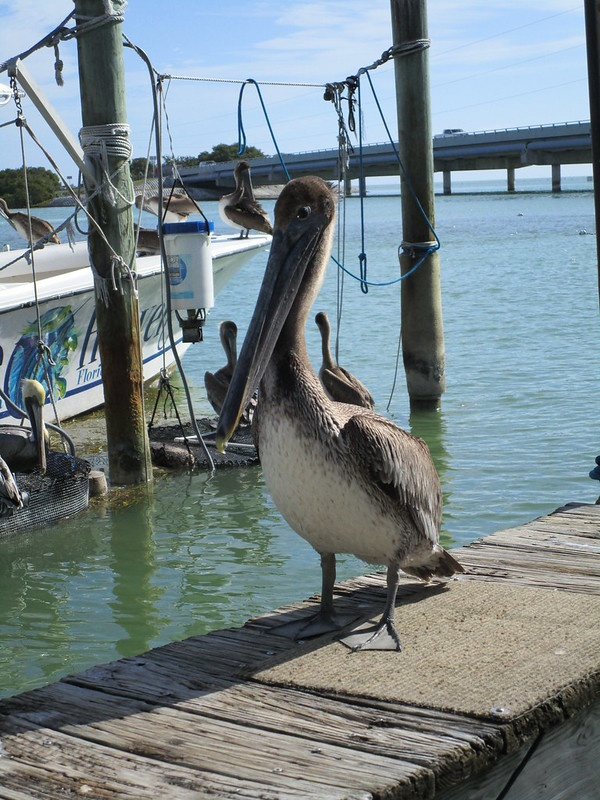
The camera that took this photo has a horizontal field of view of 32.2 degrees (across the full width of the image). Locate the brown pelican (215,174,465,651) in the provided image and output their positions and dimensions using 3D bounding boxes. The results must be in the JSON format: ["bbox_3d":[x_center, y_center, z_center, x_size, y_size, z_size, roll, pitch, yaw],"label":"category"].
[{"bbox_3d":[0.058,0.018,3.195,0.526,1.444,0.614,-7,8,19],"label":"brown pelican"}]
